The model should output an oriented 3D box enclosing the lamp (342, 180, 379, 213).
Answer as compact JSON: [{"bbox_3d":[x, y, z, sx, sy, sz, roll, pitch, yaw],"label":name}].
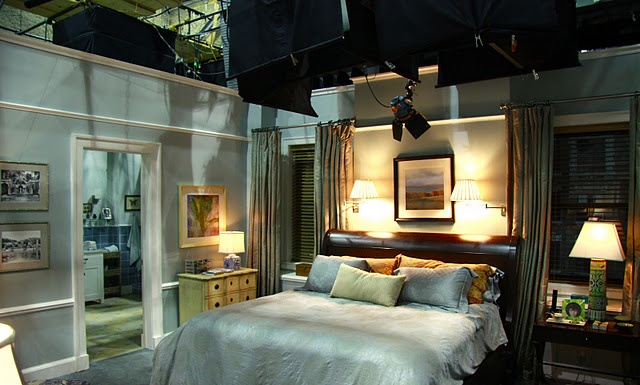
[{"bbox_3d":[0.621,0.062,7.308,0.470,0.501,0.556,5,-8,-39],"label":"lamp"}]

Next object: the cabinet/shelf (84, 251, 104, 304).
[{"bbox_3d":[-4.552,1.692,9.043,0.350,1.053,0.452,1,-3,-25],"label":"cabinet/shelf"}]

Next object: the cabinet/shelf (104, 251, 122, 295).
[{"bbox_3d":[-4.376,1.717,9.434,0.328,0.962,0.430,1,-3,-24],"label":"cabinet/shelf"}]

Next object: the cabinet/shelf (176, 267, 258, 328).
[{"bbox_3d":[-1.706,1.523,7.678,0.880,1.167,1.312,-5,-6,41],"label":"cabinet/shelf"}]

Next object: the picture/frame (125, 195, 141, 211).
[{"bbox_3d":[-4.079,0.213,9.708,0.035,0.340,0.363,-1,-2,44],"label":"picture/frame"}]

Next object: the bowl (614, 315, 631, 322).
[{"bbox_3d":[3.799,1.587,5.653,0.115,0.038,0.110,-2,-8,0],"label":"bowl"}]

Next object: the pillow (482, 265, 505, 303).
[{"bbox_3d":[2.373,1.250,6.136,0.408,0.452,0.135,35,-26,-33],"label":"pillow"}]

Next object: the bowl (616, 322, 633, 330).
[{"bbox_3d":[3.786,1.657,5.573,0.120,0.046,0.121,-3,-6,0],"label":"bowl"}]

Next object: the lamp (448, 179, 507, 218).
[{"bbox_3d":[2.282,0.114,6.649,0.807,0.454,0.455,11,-15,-20],"label":"lamp"}]

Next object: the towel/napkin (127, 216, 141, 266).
[{"bbox_3d":[-4.037,1.020,9.718,0.248,1.141,0.244,0,-3,-15],"label":"towel/napkin"}]
